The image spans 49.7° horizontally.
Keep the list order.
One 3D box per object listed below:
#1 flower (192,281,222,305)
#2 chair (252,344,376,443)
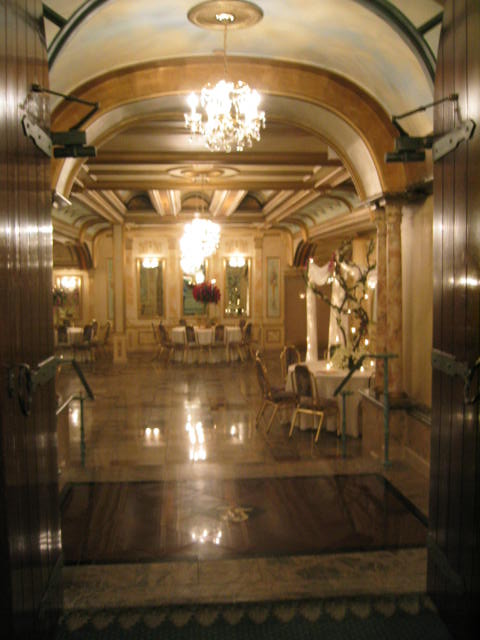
[{"bbox_3d":[-0.777,-0.721,12.601,0.440,0.769,0.537,8,12,28],"label":"flower"},{"bbox_3d":[0.923,0.901,6.088,1.025,1.001,0.834,-9,13,-34],"label":"chair"}]
